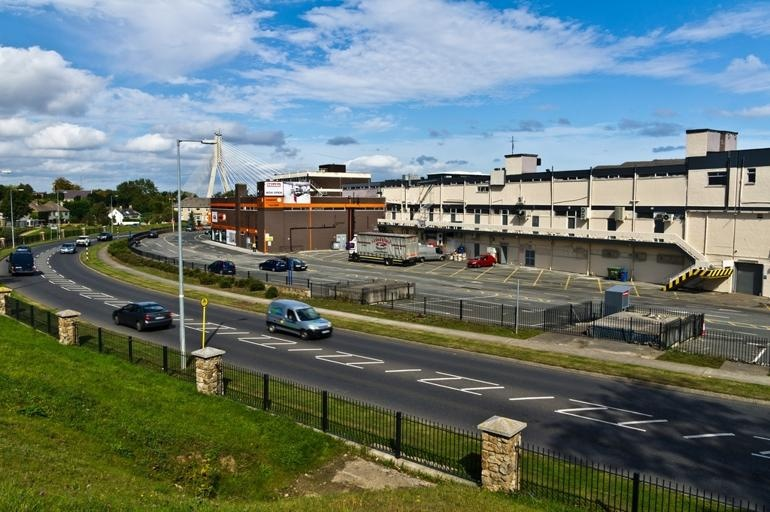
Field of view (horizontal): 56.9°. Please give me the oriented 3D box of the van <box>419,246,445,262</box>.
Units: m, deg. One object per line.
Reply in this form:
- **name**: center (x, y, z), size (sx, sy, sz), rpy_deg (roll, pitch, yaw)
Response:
- **van**: center (5.566, -0.223, 85.656), size (1.544, 2.027, 5.259), rpy_deg (7, 10, 32)

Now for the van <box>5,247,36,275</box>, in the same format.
- **van**: center (-35.807, 0.873, 70.015), size (2.125, 2.209, 3.001), rpy_deg (-3, 10, -21)

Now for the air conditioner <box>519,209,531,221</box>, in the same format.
- **air conditioner**: center (15.875, -4.543, 81.498), size (0.512, 1.341, 1.581), rpy_deg (-7, 12, -37)

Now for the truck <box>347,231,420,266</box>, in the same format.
- **truck**: center (0.037, -0.843, 83.957), size (4.415, 3.747, 10.300), rpy_deg (-7, 12, -41)

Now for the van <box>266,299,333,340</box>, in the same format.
- **van**: center (-5.710, 4.188, 46.519), size (4.502, 1.937, 2.529), rpy_deg (8, 12, 41)
